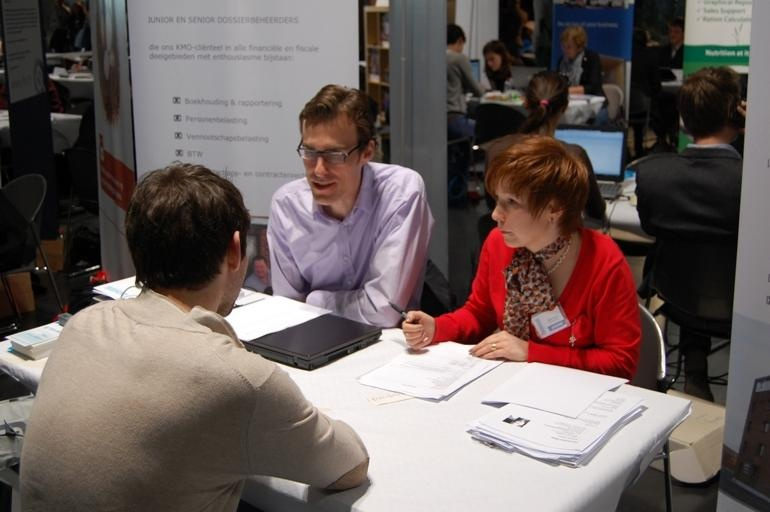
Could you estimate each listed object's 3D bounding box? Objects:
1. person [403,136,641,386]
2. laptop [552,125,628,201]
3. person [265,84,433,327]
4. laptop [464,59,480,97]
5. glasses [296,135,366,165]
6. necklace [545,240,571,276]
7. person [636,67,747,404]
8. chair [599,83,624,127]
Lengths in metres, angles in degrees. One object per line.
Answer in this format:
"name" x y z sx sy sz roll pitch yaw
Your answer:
"person" 0.577 0.026 2.275 0.632 0.893 0.891 -9 13 -37
"laptop" 1.257 -0.584 3.559 0.411 0.402 0.344 7 17 28
"person" -0.217 -0.238 2.784 0.720 1.092 0.543 4 21 13
"laptop" 0.538 -1.092 3.610 0.016 0.250 0.166 -18 23 -40
"glasses" -0.245 -0.456 2.627 0.286 0.095 0.121 -2 14 0
"necklace" 0.627 -0.007 2.206 0.091 0.134 0.047 -4 32 -43
"person" 1.767 -0.086 3.252 0.611 1.742 0.627 3 20 28
"chair" 1.258 -0.830 3.245 0.145 0.240 0.174 5 32 30
